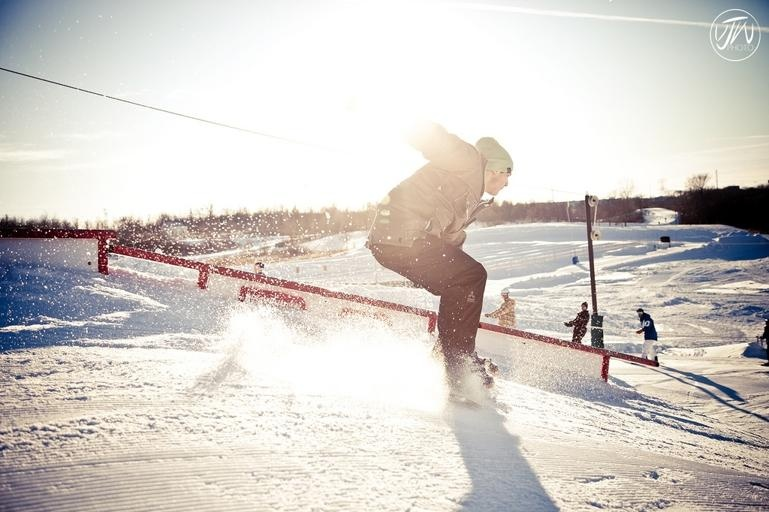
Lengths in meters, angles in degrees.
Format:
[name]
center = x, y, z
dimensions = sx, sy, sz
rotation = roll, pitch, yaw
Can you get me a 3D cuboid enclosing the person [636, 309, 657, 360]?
[person]
center = 8.782, 2.695, 20.836
dimensions = 0.527, 1.690, 1.024
rotation = 0, -33, 17
